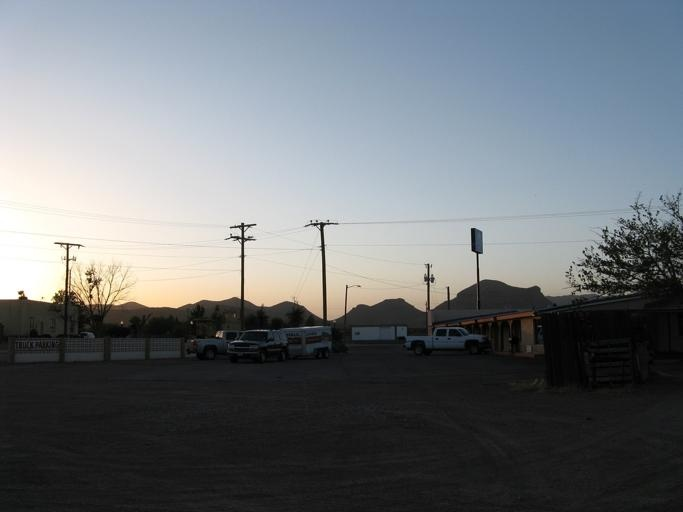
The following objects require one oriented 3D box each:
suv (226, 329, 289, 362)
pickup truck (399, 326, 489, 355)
[{"bbox_3d":[-5.525,6.158,44.680,1.970,2.067,5.833,-3,-5,38],"label":"suv"},{"bbox_3d":[9.133,7.225,56.224,6.849,2.286,1.089,1,-7,-8],"label":"pickup truck"}]
